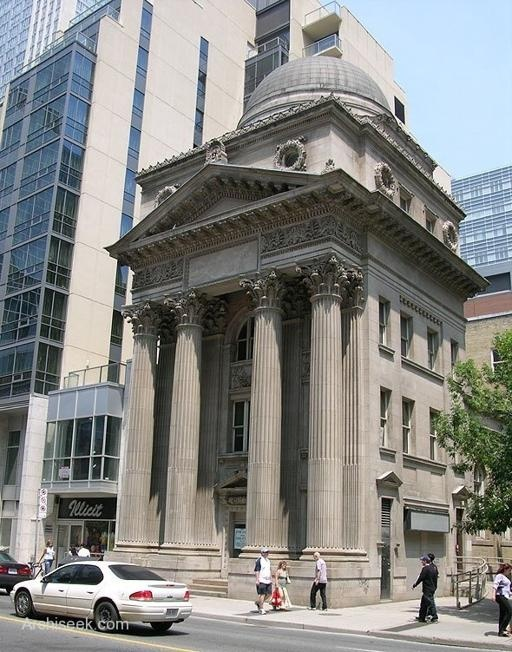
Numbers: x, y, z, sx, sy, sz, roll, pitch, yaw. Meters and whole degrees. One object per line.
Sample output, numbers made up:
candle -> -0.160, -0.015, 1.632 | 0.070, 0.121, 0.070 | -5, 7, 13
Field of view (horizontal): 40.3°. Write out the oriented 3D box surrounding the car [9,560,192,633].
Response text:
car -> -3.297, 5.645, 14.804 | 4.489, 1.226, 1.664 | -14, -21, 40
